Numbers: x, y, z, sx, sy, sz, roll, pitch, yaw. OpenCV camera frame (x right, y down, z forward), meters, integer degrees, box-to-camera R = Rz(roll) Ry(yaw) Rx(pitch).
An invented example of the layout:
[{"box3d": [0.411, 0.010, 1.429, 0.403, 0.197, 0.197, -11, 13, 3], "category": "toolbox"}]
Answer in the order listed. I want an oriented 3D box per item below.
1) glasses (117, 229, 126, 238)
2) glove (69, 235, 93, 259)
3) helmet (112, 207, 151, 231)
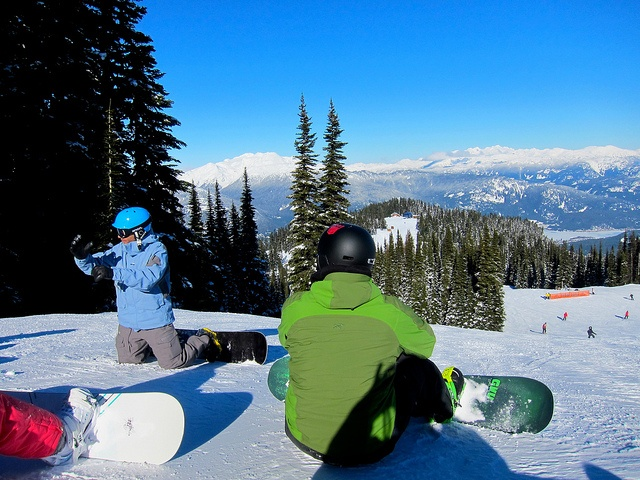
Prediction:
[{"box3d": [-4.275, -0.133, 12.211, 0.145, 0.202, 0.160, 5, 1, -8], "category": "glasses"}, {"box3d": [-5.127, 0.157, 12.028, 0.415, 0.555, 0.201, -8, 7, -36], "category": "glove"}, {"box3d": [-4.011, -0.456, 12.202, 0.631, 0.309, 0.485, 10, 11, -13], "category": "helmet"}]
